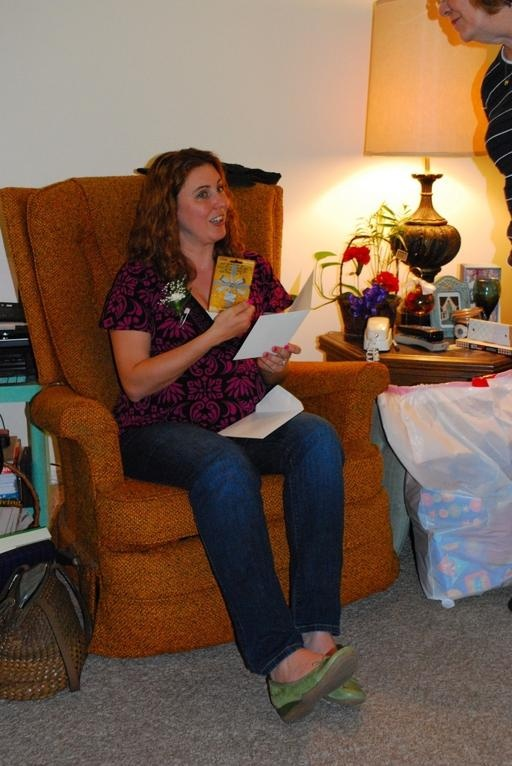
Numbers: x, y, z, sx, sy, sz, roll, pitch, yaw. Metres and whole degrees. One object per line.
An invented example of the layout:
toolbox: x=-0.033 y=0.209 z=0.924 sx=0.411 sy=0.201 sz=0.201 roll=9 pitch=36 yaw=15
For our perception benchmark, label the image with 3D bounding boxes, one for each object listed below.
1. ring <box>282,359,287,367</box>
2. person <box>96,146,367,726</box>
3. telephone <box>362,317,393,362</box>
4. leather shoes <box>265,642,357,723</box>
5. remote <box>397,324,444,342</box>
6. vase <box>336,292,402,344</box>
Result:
ring: x=0.065 y=-0.046 z=1.403 sx=0.011 sy=0.013 sz=0.010 roll=-3 pitch=15 yaw=2
person: x=-0.047 y=0.039 z=1.255 sx=0.449 sy=1.080 sz=0.691 roll=-4 pitch=10 yaw=-22
telephone: x=0.343 y=-0.120 z=1.723 sx=0.064 sy=0.063 sz=0.150 roll=1 pitch=13 yaw=11
leather shoes: x=0.092 y=0.509 z=1.059 sx=0.139 sy=0.050 sz=0.062 roll=-44 pitch=40 yaw=-3
remote: x=0.476 y=-0.151 z=1.831 sx=0.058 sy=0.034 sz=0.109 roll=3 pitch=4 yaw=-32
vase: x=0.350 y=-0.199 z=1.880 sx=0.168 sy=0.120 sz=0.169 roll=2 pitch=6 yaw=12
